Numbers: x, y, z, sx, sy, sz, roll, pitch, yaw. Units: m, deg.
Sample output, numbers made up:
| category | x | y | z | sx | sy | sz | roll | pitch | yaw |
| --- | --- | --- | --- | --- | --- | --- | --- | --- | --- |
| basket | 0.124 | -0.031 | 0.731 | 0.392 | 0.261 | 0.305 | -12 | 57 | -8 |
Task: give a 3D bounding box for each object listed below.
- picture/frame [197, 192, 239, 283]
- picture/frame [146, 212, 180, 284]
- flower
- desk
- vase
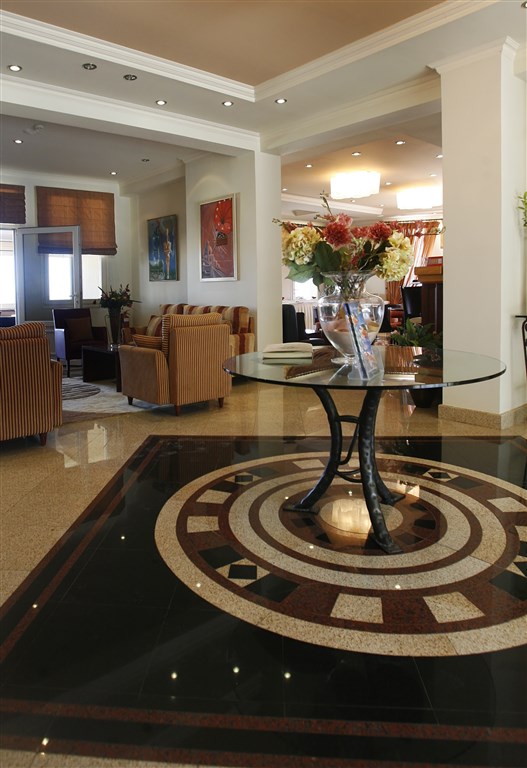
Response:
| category | x | y | z | sx | sy | sz | roll | pitch | yaw |
| --- | --- | --- | --- | --- | --- | --- | --- | --- | --- |
| picture/frame | -0.542 | -1.841 | 6.844 | 0.058 | 1.374 | 1.137 | -5 | 8 | -34 |
| picture/frame | -1.523 | -2.100 | 8.468 | 0.050 | 1.331 | 1.089 | -7 | 11 | -38 |
| flower | 0.387 | -0.587 | 2.450 | 0.496 | 0.451 | 0.441 | 16 | 18 | 31 |
| desk | 0.397 | 0.254 | 2.287 | 0.971 | 0.599 | 0.976 | -4 | 7 | -22 |
| vase | 0.321 | -0.280 | 2.454 | 0.338 | 0.404 | 0.332 | 0 | 14 | 5 |
